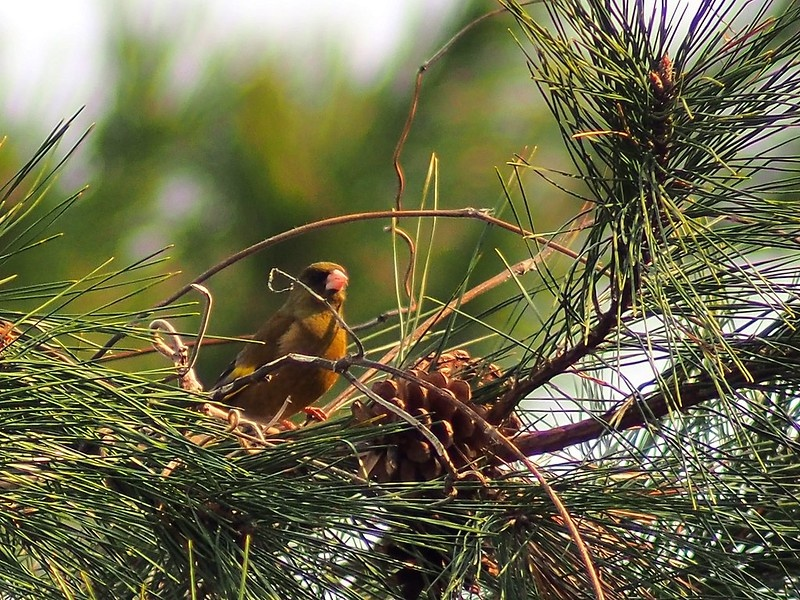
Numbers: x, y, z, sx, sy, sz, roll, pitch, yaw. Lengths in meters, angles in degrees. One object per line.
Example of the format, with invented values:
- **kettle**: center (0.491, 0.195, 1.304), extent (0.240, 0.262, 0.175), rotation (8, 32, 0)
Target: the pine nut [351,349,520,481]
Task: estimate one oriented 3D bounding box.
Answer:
- **pine nut**: center (0.071, 0.209, 1.969), extent (0.266, 0.191, 0.230), rotation (7, 36, 7)
